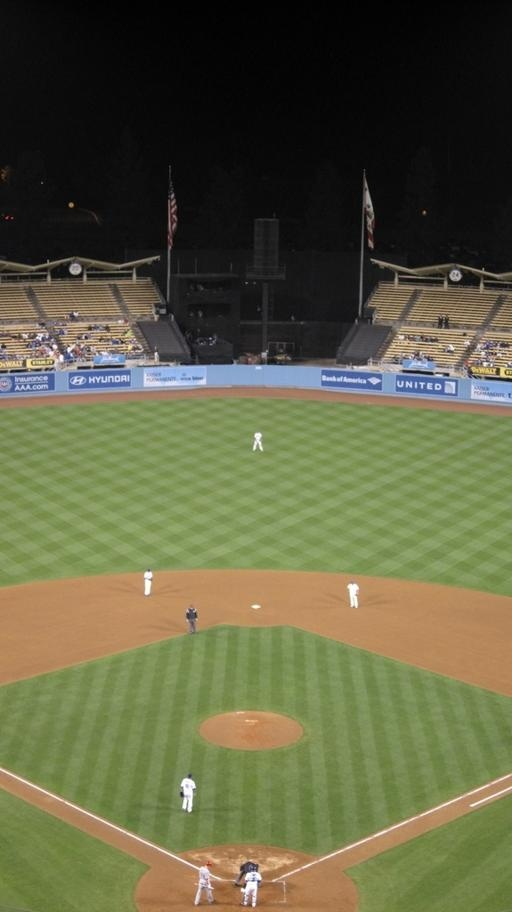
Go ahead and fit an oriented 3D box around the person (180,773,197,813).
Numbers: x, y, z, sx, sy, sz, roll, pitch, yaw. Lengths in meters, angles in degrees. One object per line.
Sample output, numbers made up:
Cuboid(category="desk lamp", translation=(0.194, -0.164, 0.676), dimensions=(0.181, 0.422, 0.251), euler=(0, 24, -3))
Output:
Cuboid(category="person", translation=(-1.506, 7.031, 19.567), dimensions=(0.309, 0.763, 0.679), euler=(-1, 10, -7))
